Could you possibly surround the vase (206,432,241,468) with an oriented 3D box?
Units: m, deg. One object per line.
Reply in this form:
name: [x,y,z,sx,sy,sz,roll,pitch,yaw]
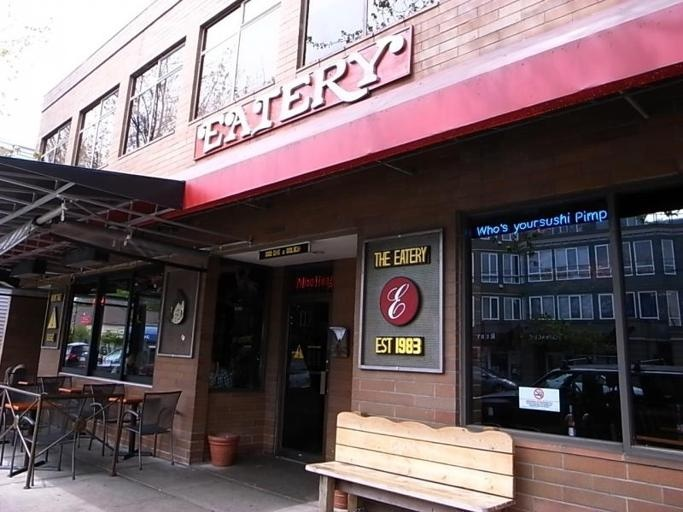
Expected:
vase: [-1.788,3.012,7.656,0.550,0.427,0.525,2,-13,-17]
